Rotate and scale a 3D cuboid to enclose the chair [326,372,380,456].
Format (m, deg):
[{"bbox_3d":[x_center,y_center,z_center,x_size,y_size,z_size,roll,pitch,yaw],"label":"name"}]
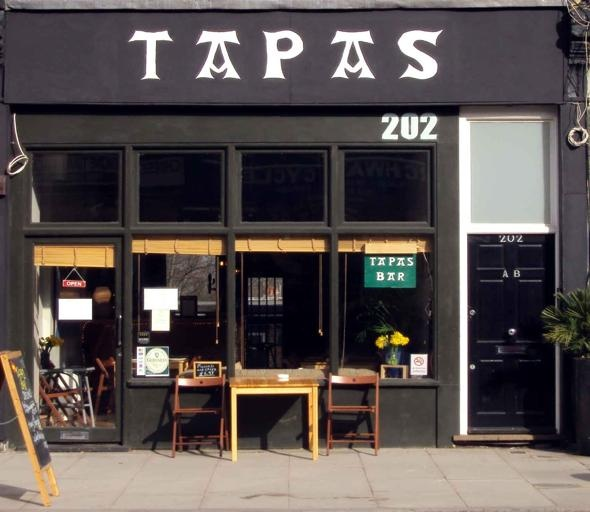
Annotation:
[{"bbox_3d":[0.761,2.049,14.125,0.573,1.093,0.602,1,-4,5],"label":"chair"}]

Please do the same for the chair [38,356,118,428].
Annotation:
[{"bbox_3d":[-2.992,1.860,14.745,0.708,0.987,0.839,-1,-5,3],"label":"chair"}]

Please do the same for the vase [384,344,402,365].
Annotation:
[{"bbox_3d":[1.313,1.337,14.432,0.205,0.291,0.222,-5,-11,30],"label":"vase"}]

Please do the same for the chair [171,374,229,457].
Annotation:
[{"bbox_3d":[-1.255,2.014,14.005,0.706,1.201,0.698,-2,0,-6],"label":"chair"}]

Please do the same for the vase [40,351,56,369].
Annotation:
[{"bbox_3d":[-3.336,1.403,14.506,0.182,0.373,0.207,-1,-2,-3],"label":"vase"}]

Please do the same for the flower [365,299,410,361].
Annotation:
[{"bbox_3d":[1.267,1.143,14.512,0.391,0.640,0.398,-25,-28,36],"label":"flower"}]

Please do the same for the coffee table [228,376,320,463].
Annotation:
[{"bbox_3d":[-0.238,2.137,14.010,1.066,1.138,0.911,0,-8,-3],"label":"coffee table"}]
